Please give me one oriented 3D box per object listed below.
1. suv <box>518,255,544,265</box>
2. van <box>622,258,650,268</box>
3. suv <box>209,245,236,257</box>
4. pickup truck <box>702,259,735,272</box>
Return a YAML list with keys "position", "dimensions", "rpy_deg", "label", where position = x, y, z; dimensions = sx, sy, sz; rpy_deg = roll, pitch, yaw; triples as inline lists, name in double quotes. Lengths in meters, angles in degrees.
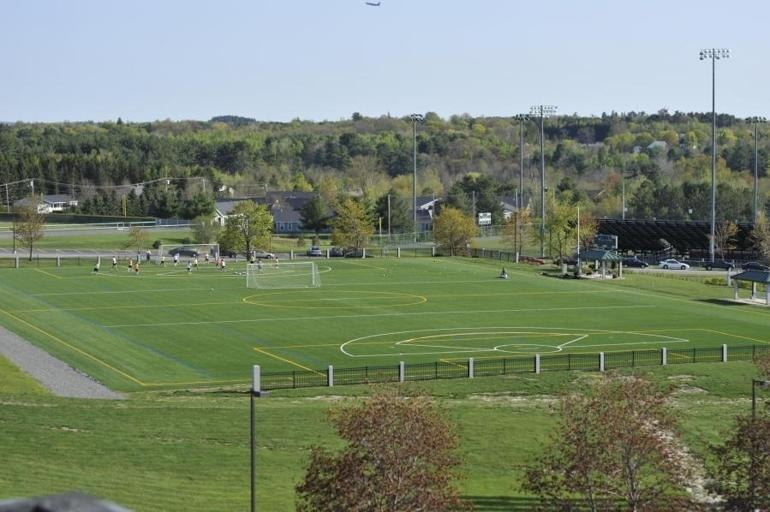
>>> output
- position: [20.147, 0.543, 194.343]
  dimensions: [1.615, 1.100, 5.024]
  rpy_deg: [-1, 1, -29]
  label: "suv"
- position: [34.732, 1.150, 195.779]
  dimensions: [3.434, 1.183, 1.814]
  rpy_deg: [-2, 5, 10]
  label: "van"
- position: [-24.148, -1.156, 208.385]
  dimensions: [3.454, 1.453, 2.640]
  rpy_deg: [3, -2, -3]
  label: "suv"
- position: [44.970, 1.366, 189.736]
  dimensions: [3.364, 1.195, 1.796]
  rpy_deg: [0, 2, 10]
  label: "pickup truck"
